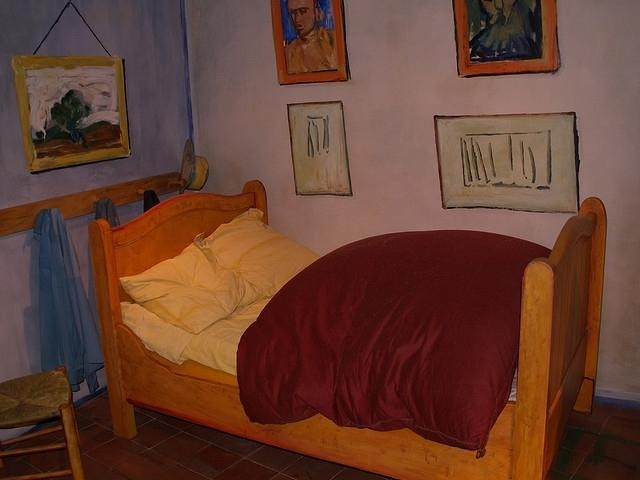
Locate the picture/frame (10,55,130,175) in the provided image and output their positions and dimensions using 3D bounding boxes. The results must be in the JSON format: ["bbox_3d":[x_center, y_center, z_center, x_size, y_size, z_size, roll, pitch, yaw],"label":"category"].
[{"bbox_3d":[-1.684,-0.832,3.702,0.049,0.762,0.645,15,24,41],"label":"picture/frame"}]

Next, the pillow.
[{"bbox_3d":[-0.614,0.204,3.729,0.642,0.256,0.991,36,39,23],"label":"pillow"}]
